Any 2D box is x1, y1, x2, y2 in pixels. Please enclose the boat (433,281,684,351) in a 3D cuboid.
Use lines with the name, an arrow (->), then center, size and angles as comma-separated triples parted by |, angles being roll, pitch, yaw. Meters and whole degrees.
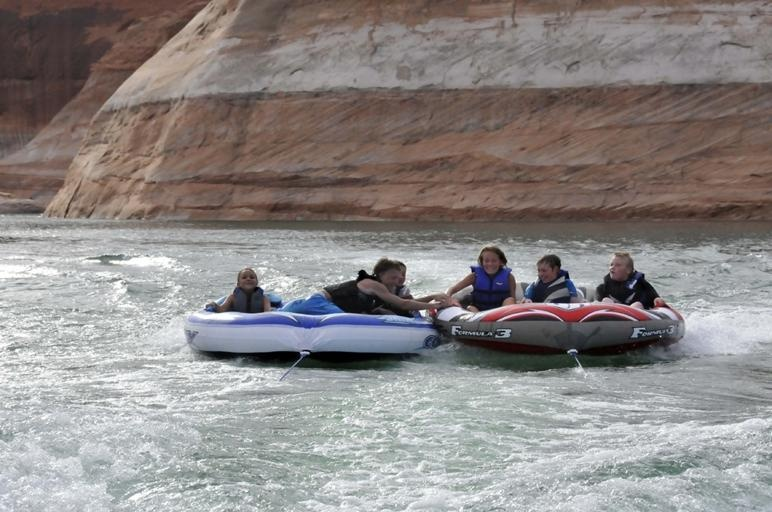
boat -> 2.433, 0.938, 12.306 | 3.713, 0.398, 2.846 | 0, 1, -11
